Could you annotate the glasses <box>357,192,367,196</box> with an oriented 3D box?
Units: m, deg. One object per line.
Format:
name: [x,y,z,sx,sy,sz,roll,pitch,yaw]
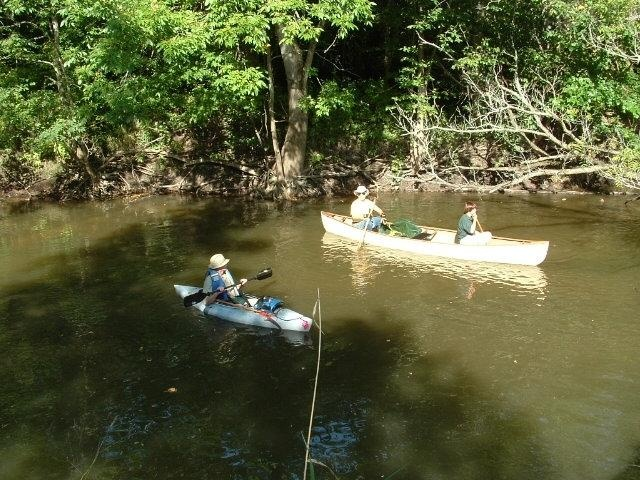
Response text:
glasses: [1.409,-1.598,19.718,0.252,0.095,0.414,-4,1,-3]

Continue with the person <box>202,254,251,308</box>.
person: [-2.391,1.080,14.581,0.844,1.320,0.633,-5,52,11]

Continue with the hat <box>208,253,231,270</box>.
hat: [-2.466,0.523,13.799,0.437,0.341,0.303,-1,11,-4]

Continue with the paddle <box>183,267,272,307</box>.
paddle: [-2.337,1.228,14.496,2.657,0.286,0.259,-18,14,-14]

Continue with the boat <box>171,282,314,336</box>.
boat: [-1.967,1.772,13.873,4.004,0.535,1.017,9,11,17]
